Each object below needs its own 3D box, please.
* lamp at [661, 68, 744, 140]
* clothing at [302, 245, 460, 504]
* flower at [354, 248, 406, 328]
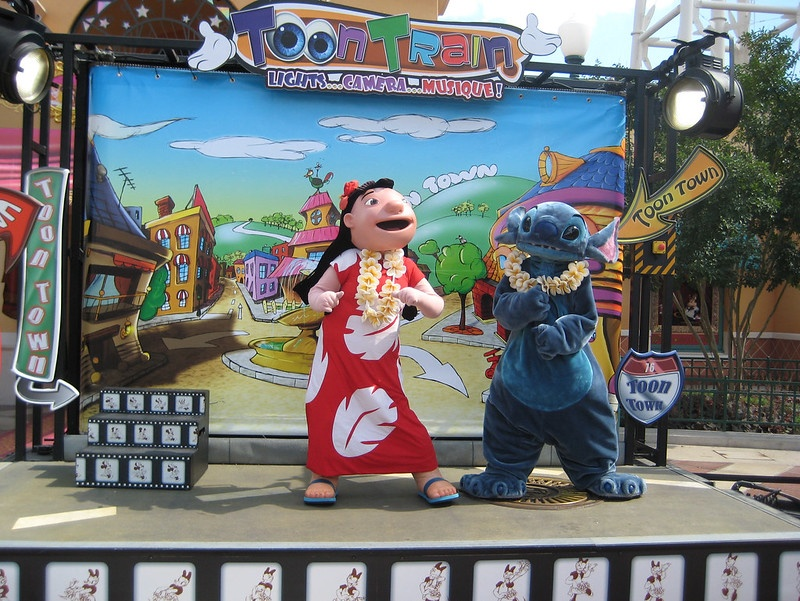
[{"bbox_3d":[2.703,-1.773,7.092,0.528,0.585,0.638,0,0,-43],"label":"lamp"},{"bbox_3d":[-0.222,0.604,6.510,1.112,1.979,0.812,1,12,-2],"label":"clothing"},{"bbox_3d":[-0.178,-0.096,6.486,0.414,0.615,0.176,5,-18,-11],"label":"flower"}]
